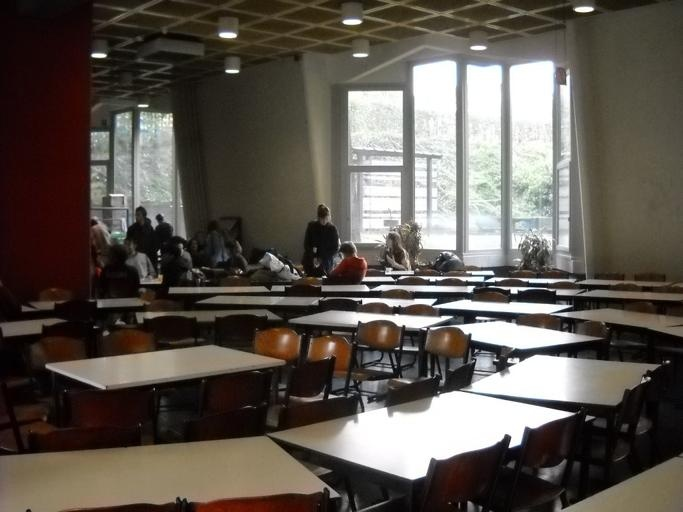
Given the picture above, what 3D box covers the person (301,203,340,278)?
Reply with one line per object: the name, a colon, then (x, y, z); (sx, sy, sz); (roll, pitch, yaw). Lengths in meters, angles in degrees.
person: (-0.374, 0.008, 9.384); (0.575, 1.734, 0.565); (9, 17, 10)
